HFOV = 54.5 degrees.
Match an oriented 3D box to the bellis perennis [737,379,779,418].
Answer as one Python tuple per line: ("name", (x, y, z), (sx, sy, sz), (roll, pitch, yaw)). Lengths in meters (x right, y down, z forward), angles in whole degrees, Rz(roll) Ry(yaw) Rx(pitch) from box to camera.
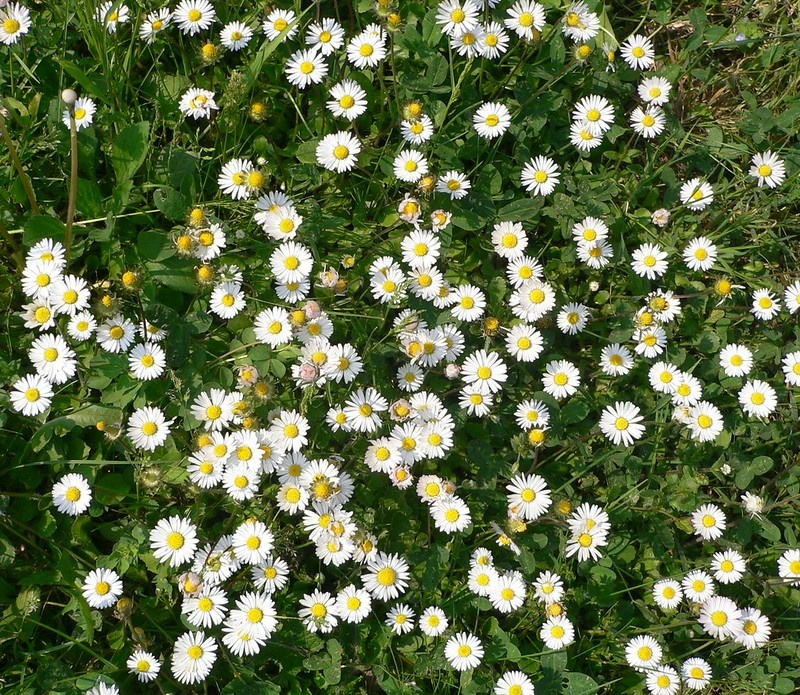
("bellis perennis", (2.246, 0.323, 4.881), (0.202, 0.077, 0.248), (12, 87, 9))

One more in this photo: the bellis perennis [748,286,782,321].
("bellis perennis", (2.346, -0.282, 5.020), (0.172, 0.043, 0.214), (-19, 68, 0))

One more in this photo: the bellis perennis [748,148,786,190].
("bellis perennis", (2.444, -1.180, 5.182), (0.211, 0.091, 0.259), (-8, 90, -3))
